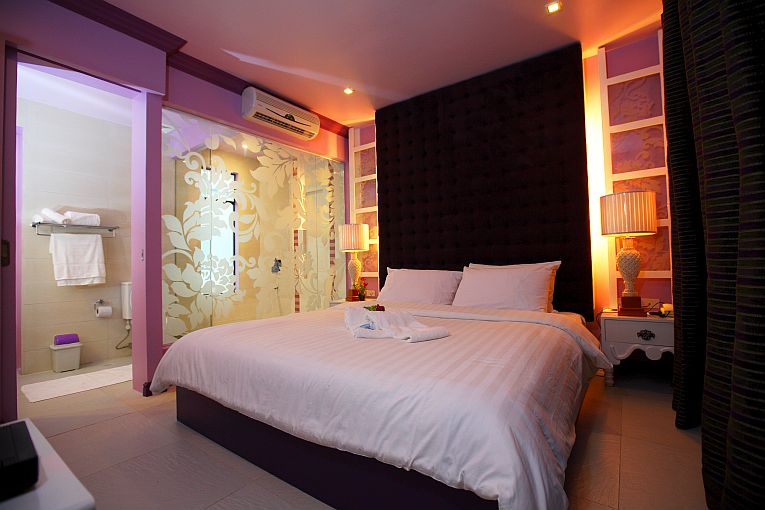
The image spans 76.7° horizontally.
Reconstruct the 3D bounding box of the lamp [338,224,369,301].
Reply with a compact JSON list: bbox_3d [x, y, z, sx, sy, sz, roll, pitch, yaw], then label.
[{"bbox_3d":[-0.351,0.079,6.121,0.413,0.911,0.752,-3,0,-5],"label":"lamp"}]

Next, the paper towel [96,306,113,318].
[{"bbox_3d":[-3.208,0.659,5.573,0.121,0.143,0.162,-9,-11,44],"label":"paper towel"}]

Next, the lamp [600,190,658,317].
[{"bbox_3d":[2.322,-0.014,4.535,0.498,0.985,0.345,-3,0,20],"label":"lamp"}]

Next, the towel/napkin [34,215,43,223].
[{"bbox_3d":[-3.709,-0.385,5.214,0.088,0.100,0.104,-3,0,-35],"label":"towel/napkin"}]

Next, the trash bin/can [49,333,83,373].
[{"bbox_3d":[-3.461,1.064,5.286,0.295,0.384,0.244,-1,6,-42],"label":"trash bin/can"}]

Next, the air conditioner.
[{"bbox_3d":[-1.137,-1.611,5.595,0.885,0.330,0.216,9,7,-46],"label":"air conditioner"}]

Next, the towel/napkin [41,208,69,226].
[{"bbox_3d":[-3.602,-0.421,5.314,0.254,0.195,0.164,-3,0,-34],"label":"towel/napkin"}]

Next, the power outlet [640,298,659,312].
[{"bbox_3d":[2.513,0.466,4.546,0.112,0.140,0.210,6,-10,-21],"label":"power outlet"}]

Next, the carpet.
[{"bbox_3d":[-3.034,1.290,4.847,0.925,0.082,0.660,-3,-1,-40],"label":"carpet"}]

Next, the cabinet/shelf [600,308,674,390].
[{"bbox_3d":[2.277,0.837,4.419,0.652,0.614,0.516,-3,-7,26],"label":"cabinet/shelf"}]

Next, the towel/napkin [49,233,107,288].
[{"bbox_3d":[-3.446,0.061,5.423,0.114,0.704,0.581,-1,3,42],"label":"towel/napkin"}]
